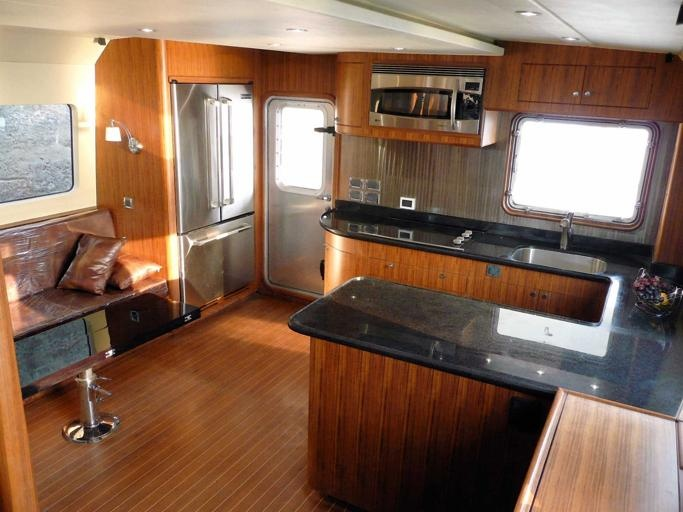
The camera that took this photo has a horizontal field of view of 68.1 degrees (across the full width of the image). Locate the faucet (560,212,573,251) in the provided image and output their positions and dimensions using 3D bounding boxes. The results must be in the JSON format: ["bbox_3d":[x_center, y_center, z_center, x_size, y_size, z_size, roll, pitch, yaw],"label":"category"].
[{"bbox_3d":[1.863,-0.197,4.172,0.096,0.314,0.137,17,34,33],"label":"faucet"}]

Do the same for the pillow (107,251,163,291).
[{"bbox_3d":[-1.841,0.128,4.457,0.362,0.096,0.324,23,34,30],"label":"pillow"}]
